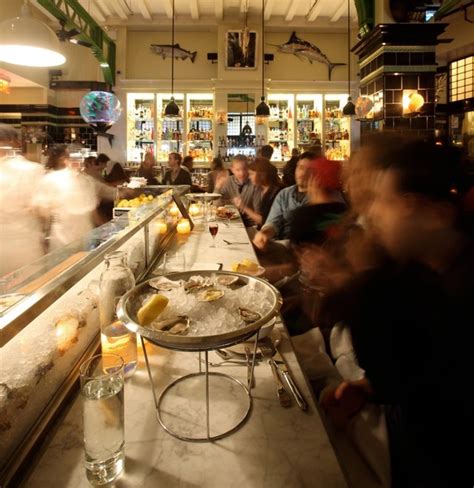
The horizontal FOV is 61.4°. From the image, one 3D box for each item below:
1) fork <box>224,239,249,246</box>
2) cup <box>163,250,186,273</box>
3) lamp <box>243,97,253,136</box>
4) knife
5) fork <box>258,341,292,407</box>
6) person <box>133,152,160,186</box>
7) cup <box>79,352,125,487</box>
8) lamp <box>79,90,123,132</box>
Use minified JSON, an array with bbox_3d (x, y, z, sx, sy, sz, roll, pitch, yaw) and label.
[{"bbox_3d":[-0.005,-0.014,2.541,0.143,0.025,0.025,-2,-31,-34],"label":"fork"},{"bbox_3d":[-0.259,0.065,1.703,0.106,0.097,0.102,1,1,0],"label":"cup"},{"bbox_3d":[0.191,-2.517,7.766,0.279,0.803,0.207,3,14,-2],"label":"lamp"},{"bbox_3d":[0.121,0.323,1.021,0.032,0.013,0.258,-9,27,-13],"label":"knife"},{"bbox_3d":[0.101,0.344,1.079,0.028,0.194,0.014,-20,5,4],"label":"fork"},{"bbox_3d":[-1.536,-1.197,6.869,0.339,0.730,0.351,-25,46,-38],"label":"person"},{"bbox_3d":[-0.242,0.327,0.725,0.072,0.181,0.099,-1,15,-19],"label":"cup"},{"bbox_3d":[-1.874,-1.880,5.562,0.566,0.523,0.563,24,31,30],"label":"lamp"}]
